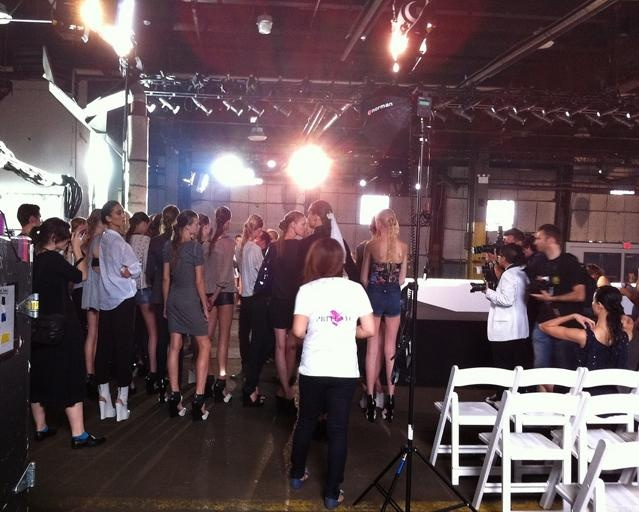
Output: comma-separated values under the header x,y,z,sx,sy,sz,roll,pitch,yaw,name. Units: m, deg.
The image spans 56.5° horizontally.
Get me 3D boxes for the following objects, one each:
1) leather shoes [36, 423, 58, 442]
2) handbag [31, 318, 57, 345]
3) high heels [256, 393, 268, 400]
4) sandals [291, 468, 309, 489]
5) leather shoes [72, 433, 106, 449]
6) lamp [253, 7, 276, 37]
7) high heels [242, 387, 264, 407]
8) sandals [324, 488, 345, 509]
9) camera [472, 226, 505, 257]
x,y,z,sx,sy,sz,roll,pitch,yaw,name
-2.711,1.774,5.943,0.070,0.095,0.209,2,2,14,leather shoes
-2.499,0.686,5.418,0.230,0.257,0.180,1,2,-22,handbag
-0.671,1.647,6.948,0.099,0.059,0.141,2,-4,-1,high heels
-0.182,2.015,5.368,0.074,0.100,0.216,1,1,10,sandals
-2.235,1.763,5.781,0.268,0.133,0.136,0,0,-31,leather shoes
-0.931,-3.872,9.884,0.377,0.614,0.396,-2,5,-16,lamp
-0.763,1.632,6.878,0.223,0.247,0.146,0,1,-18,high heels
0.146,2.092,5.146,0.197,0.142,0.110,-3,13,-21,sandals
2.157,-0.151,7.365,0.689,0.418,0.203,-2,0,-36,camera
